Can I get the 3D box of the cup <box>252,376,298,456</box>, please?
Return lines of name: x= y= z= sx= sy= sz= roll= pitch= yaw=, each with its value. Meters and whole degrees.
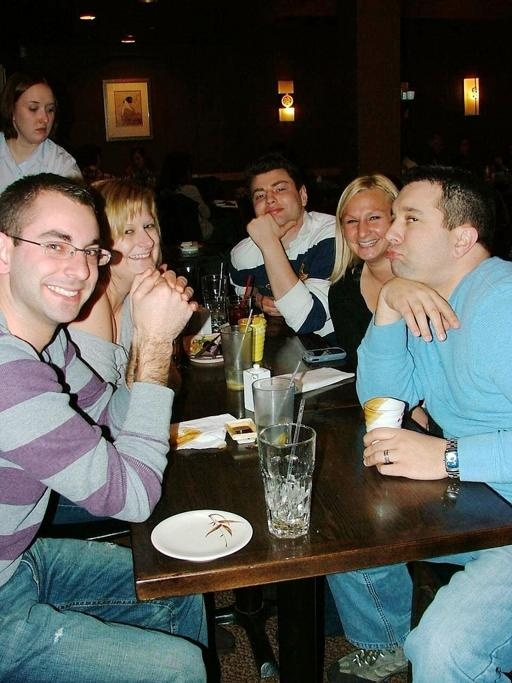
cup: x=0.039 y=0.154 z=1.235 sx=0.089 sy=0.126 sz=0.085 roll=-1 pitch=11 yaw=0

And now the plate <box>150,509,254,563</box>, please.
plate: x=-0.085 y=0.297 z=0.872 sx=0.159 sy=0.022 sz=0.138 roll=-1 pitch=7 yaw=9

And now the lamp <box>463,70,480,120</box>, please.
lamp: x=3.690 y=-4.200 z=9.653 sx=0.384 sy=0.657 sz=0.096 roll=-7 pitch=9 yaw=-27

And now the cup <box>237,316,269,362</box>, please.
cup: x=-0.012 y=-0.008 z=1.731 sx=0.100 sy=0.143 sz=0.100 roll=0 pitch=29 yaw=0

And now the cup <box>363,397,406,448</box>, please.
cup: x=0.259 y=0.169 z=1.132 sx=0.076 sy=0.055 sz=0.079 roll=-1 pitch=0 yaw=0

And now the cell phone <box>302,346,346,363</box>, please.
cell phone: x=0.222 y=0.041 z=1.821 sx=0.109 sy=0.022 sz=0.058 roll=-3 pitch=4 yaw=-12

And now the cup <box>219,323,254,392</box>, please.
cup: x=-0.065 y=0.051 z=1.613 sx=0.108 sy=0.160 sz=0.101 roll=-2 pitch=3 yaw=0
